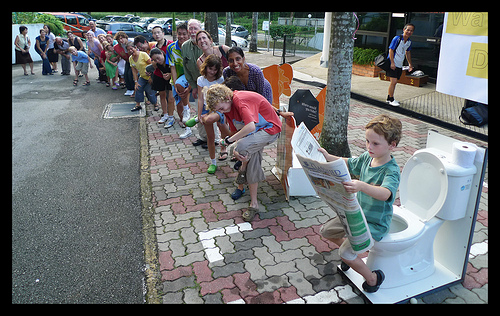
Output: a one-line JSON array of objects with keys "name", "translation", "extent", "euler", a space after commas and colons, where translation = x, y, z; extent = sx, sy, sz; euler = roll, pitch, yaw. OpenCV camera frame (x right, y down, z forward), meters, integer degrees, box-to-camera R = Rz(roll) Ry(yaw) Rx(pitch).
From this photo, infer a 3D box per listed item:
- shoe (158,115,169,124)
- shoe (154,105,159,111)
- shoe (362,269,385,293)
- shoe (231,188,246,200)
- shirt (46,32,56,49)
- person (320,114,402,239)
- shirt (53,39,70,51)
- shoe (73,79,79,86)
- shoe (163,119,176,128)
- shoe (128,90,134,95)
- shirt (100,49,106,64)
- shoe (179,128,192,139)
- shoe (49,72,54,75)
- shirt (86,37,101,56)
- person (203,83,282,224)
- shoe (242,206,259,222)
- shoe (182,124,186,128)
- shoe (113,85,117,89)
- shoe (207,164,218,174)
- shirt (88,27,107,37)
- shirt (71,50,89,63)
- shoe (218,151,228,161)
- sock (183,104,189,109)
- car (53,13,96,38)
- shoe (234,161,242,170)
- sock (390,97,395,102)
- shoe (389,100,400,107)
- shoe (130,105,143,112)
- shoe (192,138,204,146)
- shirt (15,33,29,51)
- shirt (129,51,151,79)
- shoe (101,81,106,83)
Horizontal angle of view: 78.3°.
[{"name": "shoe", "translation": [-2.525, -1.132, 8.936], "extent": [0.365, 0.155, 0.117], "euler": [-32, 51, -6]}, {"name": "shoe", "translation": [-3.110, -1.688, 10.209], "extent": [0.137, 0.210, 0.240], "euler": [-49, 22, -12]}, {"name": "shoe", "translation": [1.461, 1.443, 3.640], "extent": [0.247, 0.251, 0.144], "euler": [-17, 29, -32]}, {"name": "shoe", "translation": [-0.205, 0.604, 5.486], "extent": [0.116, 0.153, 0.331], "euler": [16, 28, 33]}, {"name": "shirt", "translation": [-10.006, -5.903, 15.445], "extent": [0.328, 0.697, 0.551], "euler": [-11, 26, -21]}, {"name": "person", "translation": [1.320, 0.215, 3.457], "extent": [0.764, 1.327, 0.941], "euler": [6, 25, 16]}, {"name": "shirt", "translation": [-9.372, -5.617, 15.239], "extent": [0.883, 0.494, 0.456], "euler": [-1, 24, 1]}, {"name": "shoe", "translation": [-7.954, -3.460, 14.026], "extent": [0.171, 0.200, 0.466], "euler": [-2, 57, -21]}, {"name": "shoe", "translation": [-2.288, -1.008, 8.681], "extent": [0.165, 0.216, 0.396], "euler": [15, 28, 31]}, {"name": "shoe", "translation": [-4.588, -2.552, 11.878], "extent": [0.187, 0.211, 0.354], "euler": [-15, 27, -29]}, {"name": "shirt", "translation": [-6.055, -4.249, 12.693], "extent": [0.210, 0.531, 0.979], "euler": [-13, 26, -24]}, {"name": "shoe", "translation": [-1.685, -0.651, 7.947], "extent": [0.237, 0.214, 0.372], "euler": [9, 25, 21]}, {"name": "shoe", "translation": [-10.570, -4.528, 16.316], "extent": [0.181, 0.041, 0.185], "euler": [18, 16, 40]}, {"name": "shirt", "translation": [-6.722, -4.847, 13.321], "extent": [0.325, 0.700, 0.786], "euler": [-22, 32, -38]}, {"name": "person", "translation": [-0.037, -0.218, 5.153], "extent": [1.151, 2.021, 1.328], "euler": [-20, 30, -35]}, {"name": "shoe", "translation": [0.005, 0.876, 4.904], "extent": [0.130, 0.107, 0.273], "euler": [19, 34, 32]}, {"name": "shoe", "translation": [-1.853, -0.901, 8.478], "extent": [0.088, 0.090, 0.085], "euler": [-8, 17, 17]}, {"name": "shoe", "translation": [-5.823, -3.072, 13.223], "extent": [0.140, 0.126, 0.310], "euler": [-10, 25, -19]}, {"name": "shoe", "translation": [-0.779, 0.209, 6.231], "extent": [0.172, 0.150, 0.177], "euler": [0, 24, 2]}, {"name": "shirt", "translation": [-6.973, -5.873, 14.191], "extent": [0.421, 0.355, 0.714], "euler": [-13, 26, -25]}, {"name": "shirt", "translation": [-7.545, -4.509, 13.609], "extent": [0.928, 0.494, 0.422], "euler": [13, 28, 29]}, {"name": "shoe", "translation": [-0.597, -0.053, 6.709], "extent": [0.116, 0.104, 0.282], "euler": [3, 19, 16]}, {"name": "sock", "translation": [-1.822, -1.447, 8.676], "extent": [0.075, 0.103, 0.110], "euler": [-3, 8, 16]}, {"name": "car", "translation": [-11.678, -9.139, 20.732], "extent": [2.824, 1.402, 1.558], "euler": [-5, 41, -10]}, {"name": "shoe", "translation": [-0.251, 0.162, 6.148], "extent": [0.126, 0.192, 0.220], "euler": [-6, 24, -11]}, {"name": "sock", "translation": [4.543, -1.900, 9.842], "extent": [0.128, 0.126, 0.108], "euler": [-13, 50, 18]}, {"name": "shoe", "translation": [4.548, -1.748, 9.733], "extent": [0.165, 0.116, 0.286], "euler": [-20, 28, -23]}, {"name": "shoe", "translation": [-3.739, -1.636, 10.114], "extent": [0.345, 0.132, 0.117], "euler": [-10, 43, -10]}, {"name": "shoe", "translation": [-1.260, -0.391, 7.489], "extent": [0.295, 0.128, 0.135], "euler": [-3, 24, -5]}, {"name": "shirt", "translation": [-11.311, -5.784, 15.237], "extent": [0.624, 0.808, 0.330], "euler": [-19, 30, -34]}, {"name": "shirt", "translation": [-3.222, -2.779, 9.106], "extent": [0.482, 0.735, 0.919], "euler": [-12, 26, -23]}, {"name": "shoe", "translation": [-6.841, -3.602, 14.391], "extent": [0.167, 0.066, 0.123], "euler": [-1, 23, 0]}]
